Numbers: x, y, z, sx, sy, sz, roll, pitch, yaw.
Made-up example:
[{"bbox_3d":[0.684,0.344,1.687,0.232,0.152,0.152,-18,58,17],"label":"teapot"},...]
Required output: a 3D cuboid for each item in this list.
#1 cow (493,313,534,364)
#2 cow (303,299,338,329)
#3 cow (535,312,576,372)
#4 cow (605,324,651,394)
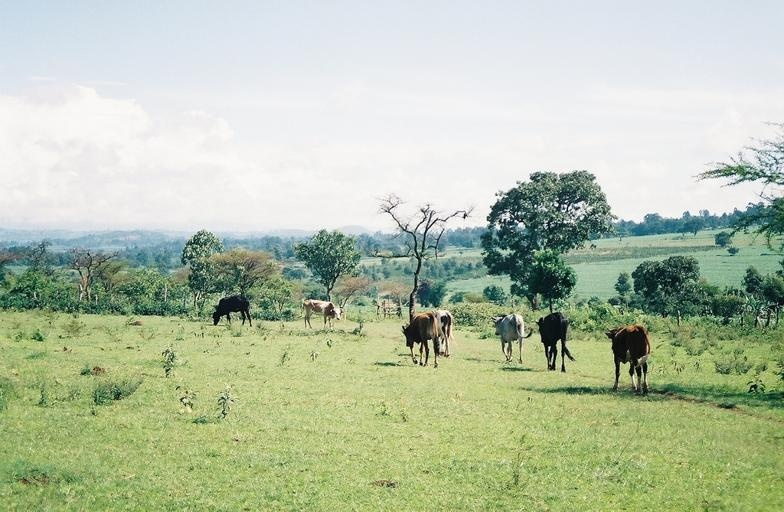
[{"bbox_3d":[7.889,5.217,57.459,1.767,3.014,4.825,2,5,7],"label":"cow"},{"bbox_3d":[-5.974,4.859,72.078,3.179,2.211,2.794,-1,6,-29],"label":"cow"},{"bbox_3d":[10.312,5.269,54.207,1.580,3.414,2.482,1,6,-8],"label":"cow"},{"bbox_3d":[13.753,5.837,49.447,2.537,3.718,3.247,1,-1,12],"label":"cow"}]
